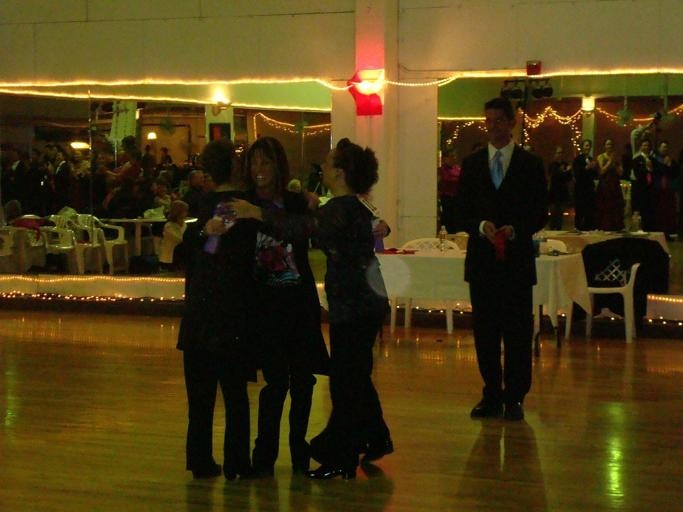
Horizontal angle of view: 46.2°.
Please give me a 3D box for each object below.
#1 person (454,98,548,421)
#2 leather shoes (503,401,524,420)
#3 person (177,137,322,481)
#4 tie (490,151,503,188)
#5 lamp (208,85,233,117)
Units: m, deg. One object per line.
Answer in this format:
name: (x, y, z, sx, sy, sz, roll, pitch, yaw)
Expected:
person: (1.094, 0.023, 5.455, 0.522, 2.165, 0.427, -3, 6, -24)
leather shoes: (1.169, 1.047, 5.425, 0.068, 0.084, 0.184, 1, 4, 11)
person: (-0.504, 0.307, 4.509, 0.830, 1.936, 0.362, -2, 6, -15)
tie: (1.045, -0.586, 5.359, 0.079, 0.248, 0.046, 1, 6, 9)
lamp: (-1.475, -1.887, 9.781, 0.311, 0.606, 0.292, 0, 6, -15)
